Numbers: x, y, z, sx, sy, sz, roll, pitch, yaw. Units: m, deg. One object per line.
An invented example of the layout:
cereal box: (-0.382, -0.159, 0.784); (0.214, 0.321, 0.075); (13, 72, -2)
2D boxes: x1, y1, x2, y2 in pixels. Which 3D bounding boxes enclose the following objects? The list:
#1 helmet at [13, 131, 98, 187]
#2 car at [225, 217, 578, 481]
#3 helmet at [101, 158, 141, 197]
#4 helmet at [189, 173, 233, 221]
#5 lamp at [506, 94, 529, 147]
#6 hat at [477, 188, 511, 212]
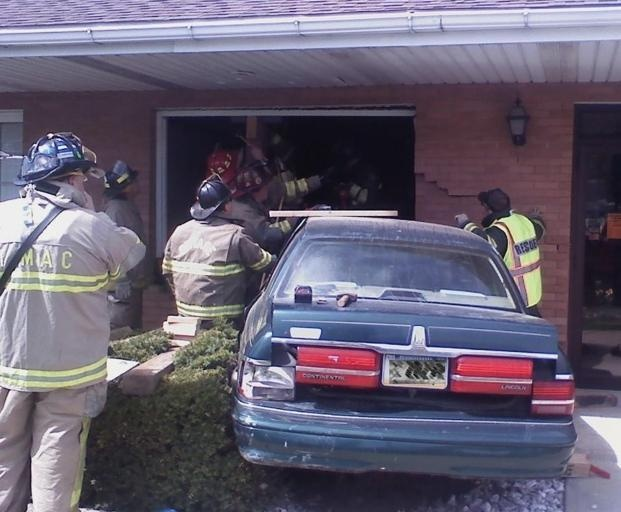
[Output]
helmet: (-1.655, -0.670, 5.908); (0.345, 0.263, 0.460); (-10, 0, 38)
car: (0.573, 0.611, 5.853); (2.066, 1.342, 1.092); (2, 7, 1)
helmet: (-1.802, -0.700, 8.646); (0.334, 0.142, 0.329); (-40, 32, -6)
helmet: (-0.805, -0.441, 7.176); (0.303, 0.320, 0.219); (2, 7, 3)
lamp: (1.934, -1.259, 8.349); (0.195, 0.453, 0.193); (3, 7, 12)
hat: (1.626, -0.488, 7.933); (0.181, 0.147, 0.272); (-12, 35, -13)
